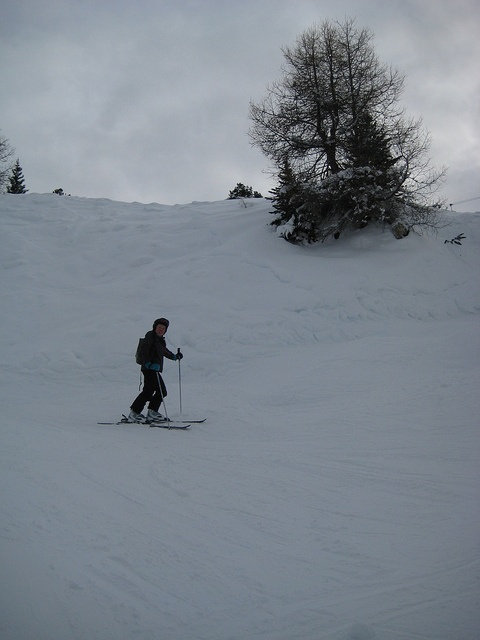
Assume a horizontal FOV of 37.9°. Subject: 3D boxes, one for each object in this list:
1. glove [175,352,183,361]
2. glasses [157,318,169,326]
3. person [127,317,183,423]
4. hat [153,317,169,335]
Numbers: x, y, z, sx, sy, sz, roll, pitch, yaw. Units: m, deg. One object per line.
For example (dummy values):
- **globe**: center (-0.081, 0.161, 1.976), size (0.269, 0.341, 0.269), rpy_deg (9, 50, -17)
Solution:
- **glove**: center (-0.802, 0.474, 9.167), size (0.105, 0.098, 0.034), rpy_deg (0, -6, 8)
- **glasses**: center (-1.074, 0.013, 9.709), size (0.086, 0.097, 0.108), rpy_deg (24, 28, -21)
- **person**: center (-1.086, 0.642, 8.898), size (0.566, 1.261, 0.889), rpy_deg (1, 9, 5)
- **hat**: center (-1.031, 0.085, 9.107), size (0.183, 0.209, 0.230), rpy_deg (17, -13, -15)
